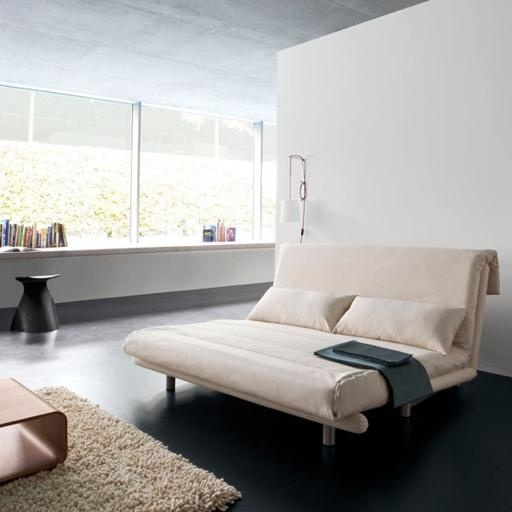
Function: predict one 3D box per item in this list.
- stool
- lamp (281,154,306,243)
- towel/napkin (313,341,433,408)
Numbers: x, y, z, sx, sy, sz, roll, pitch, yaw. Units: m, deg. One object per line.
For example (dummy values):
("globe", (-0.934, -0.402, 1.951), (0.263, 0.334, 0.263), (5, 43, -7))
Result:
("stool", (-2.309, 0.483, 4.361), (0.418, 0.580, 0.432), (0, 4, -4))
("lamp", (0.389, -0.606, 4.187), (0.238, 0.882, 0.239), (1, 0, 13))
("towel/napkin", (0.606, 0.592, 2.149), (0.451, 0.271, 0.446), (2, -1, -43))
